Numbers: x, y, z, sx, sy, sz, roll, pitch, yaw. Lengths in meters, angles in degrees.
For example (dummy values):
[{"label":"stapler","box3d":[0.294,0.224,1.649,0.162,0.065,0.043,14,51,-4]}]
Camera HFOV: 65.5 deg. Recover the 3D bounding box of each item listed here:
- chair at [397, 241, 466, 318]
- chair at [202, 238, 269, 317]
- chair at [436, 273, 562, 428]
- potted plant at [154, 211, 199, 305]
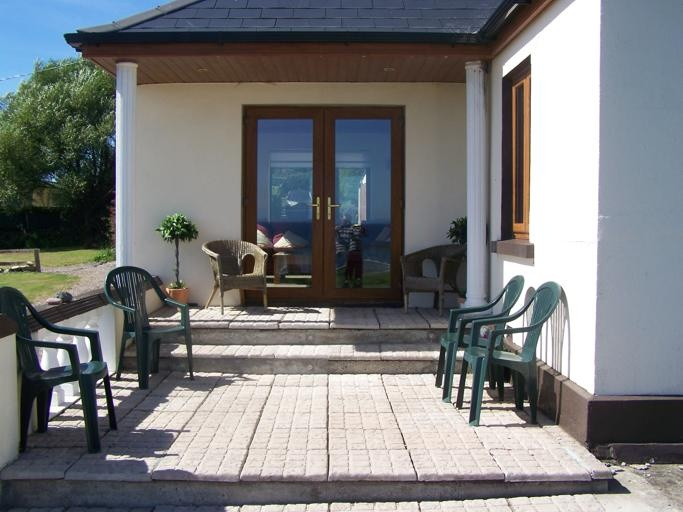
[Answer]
[{"label":"chair","box3d":[1.129,0.237,6.280,0.618,0.838,0.699,4,-3,-39]},{"label":"chair","box3d":[-1.266,0.206,6.264,0.764,0.881,0.821,-2,-1,5]},{"label":"chair","box3d":[1.277,0.720,4.466,0.820,1.072,1.044,-1,4,-7]},{"label":"potted plant","box3d":[-1.989,0.057,6.581,0.521,1.142,0.530,0,1,-12]}]
